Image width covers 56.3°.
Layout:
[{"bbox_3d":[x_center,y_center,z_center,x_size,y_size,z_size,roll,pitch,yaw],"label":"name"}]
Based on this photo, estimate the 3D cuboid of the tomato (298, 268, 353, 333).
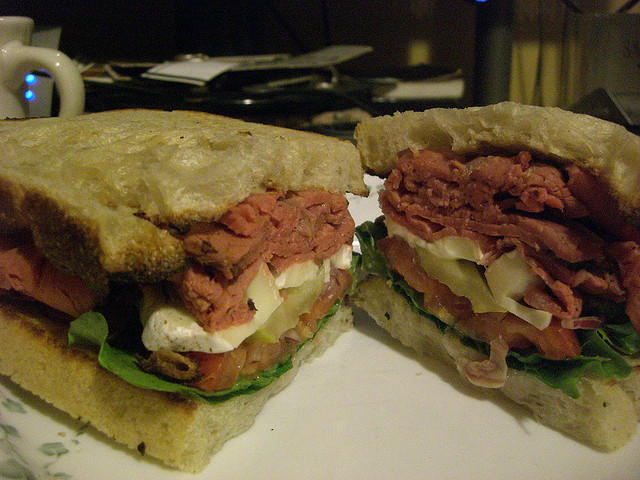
[{"bbox_3d":[0.002,0.285,2.923,0.072,0.192,0.308,17,60,37],"label":"tomato"}]
